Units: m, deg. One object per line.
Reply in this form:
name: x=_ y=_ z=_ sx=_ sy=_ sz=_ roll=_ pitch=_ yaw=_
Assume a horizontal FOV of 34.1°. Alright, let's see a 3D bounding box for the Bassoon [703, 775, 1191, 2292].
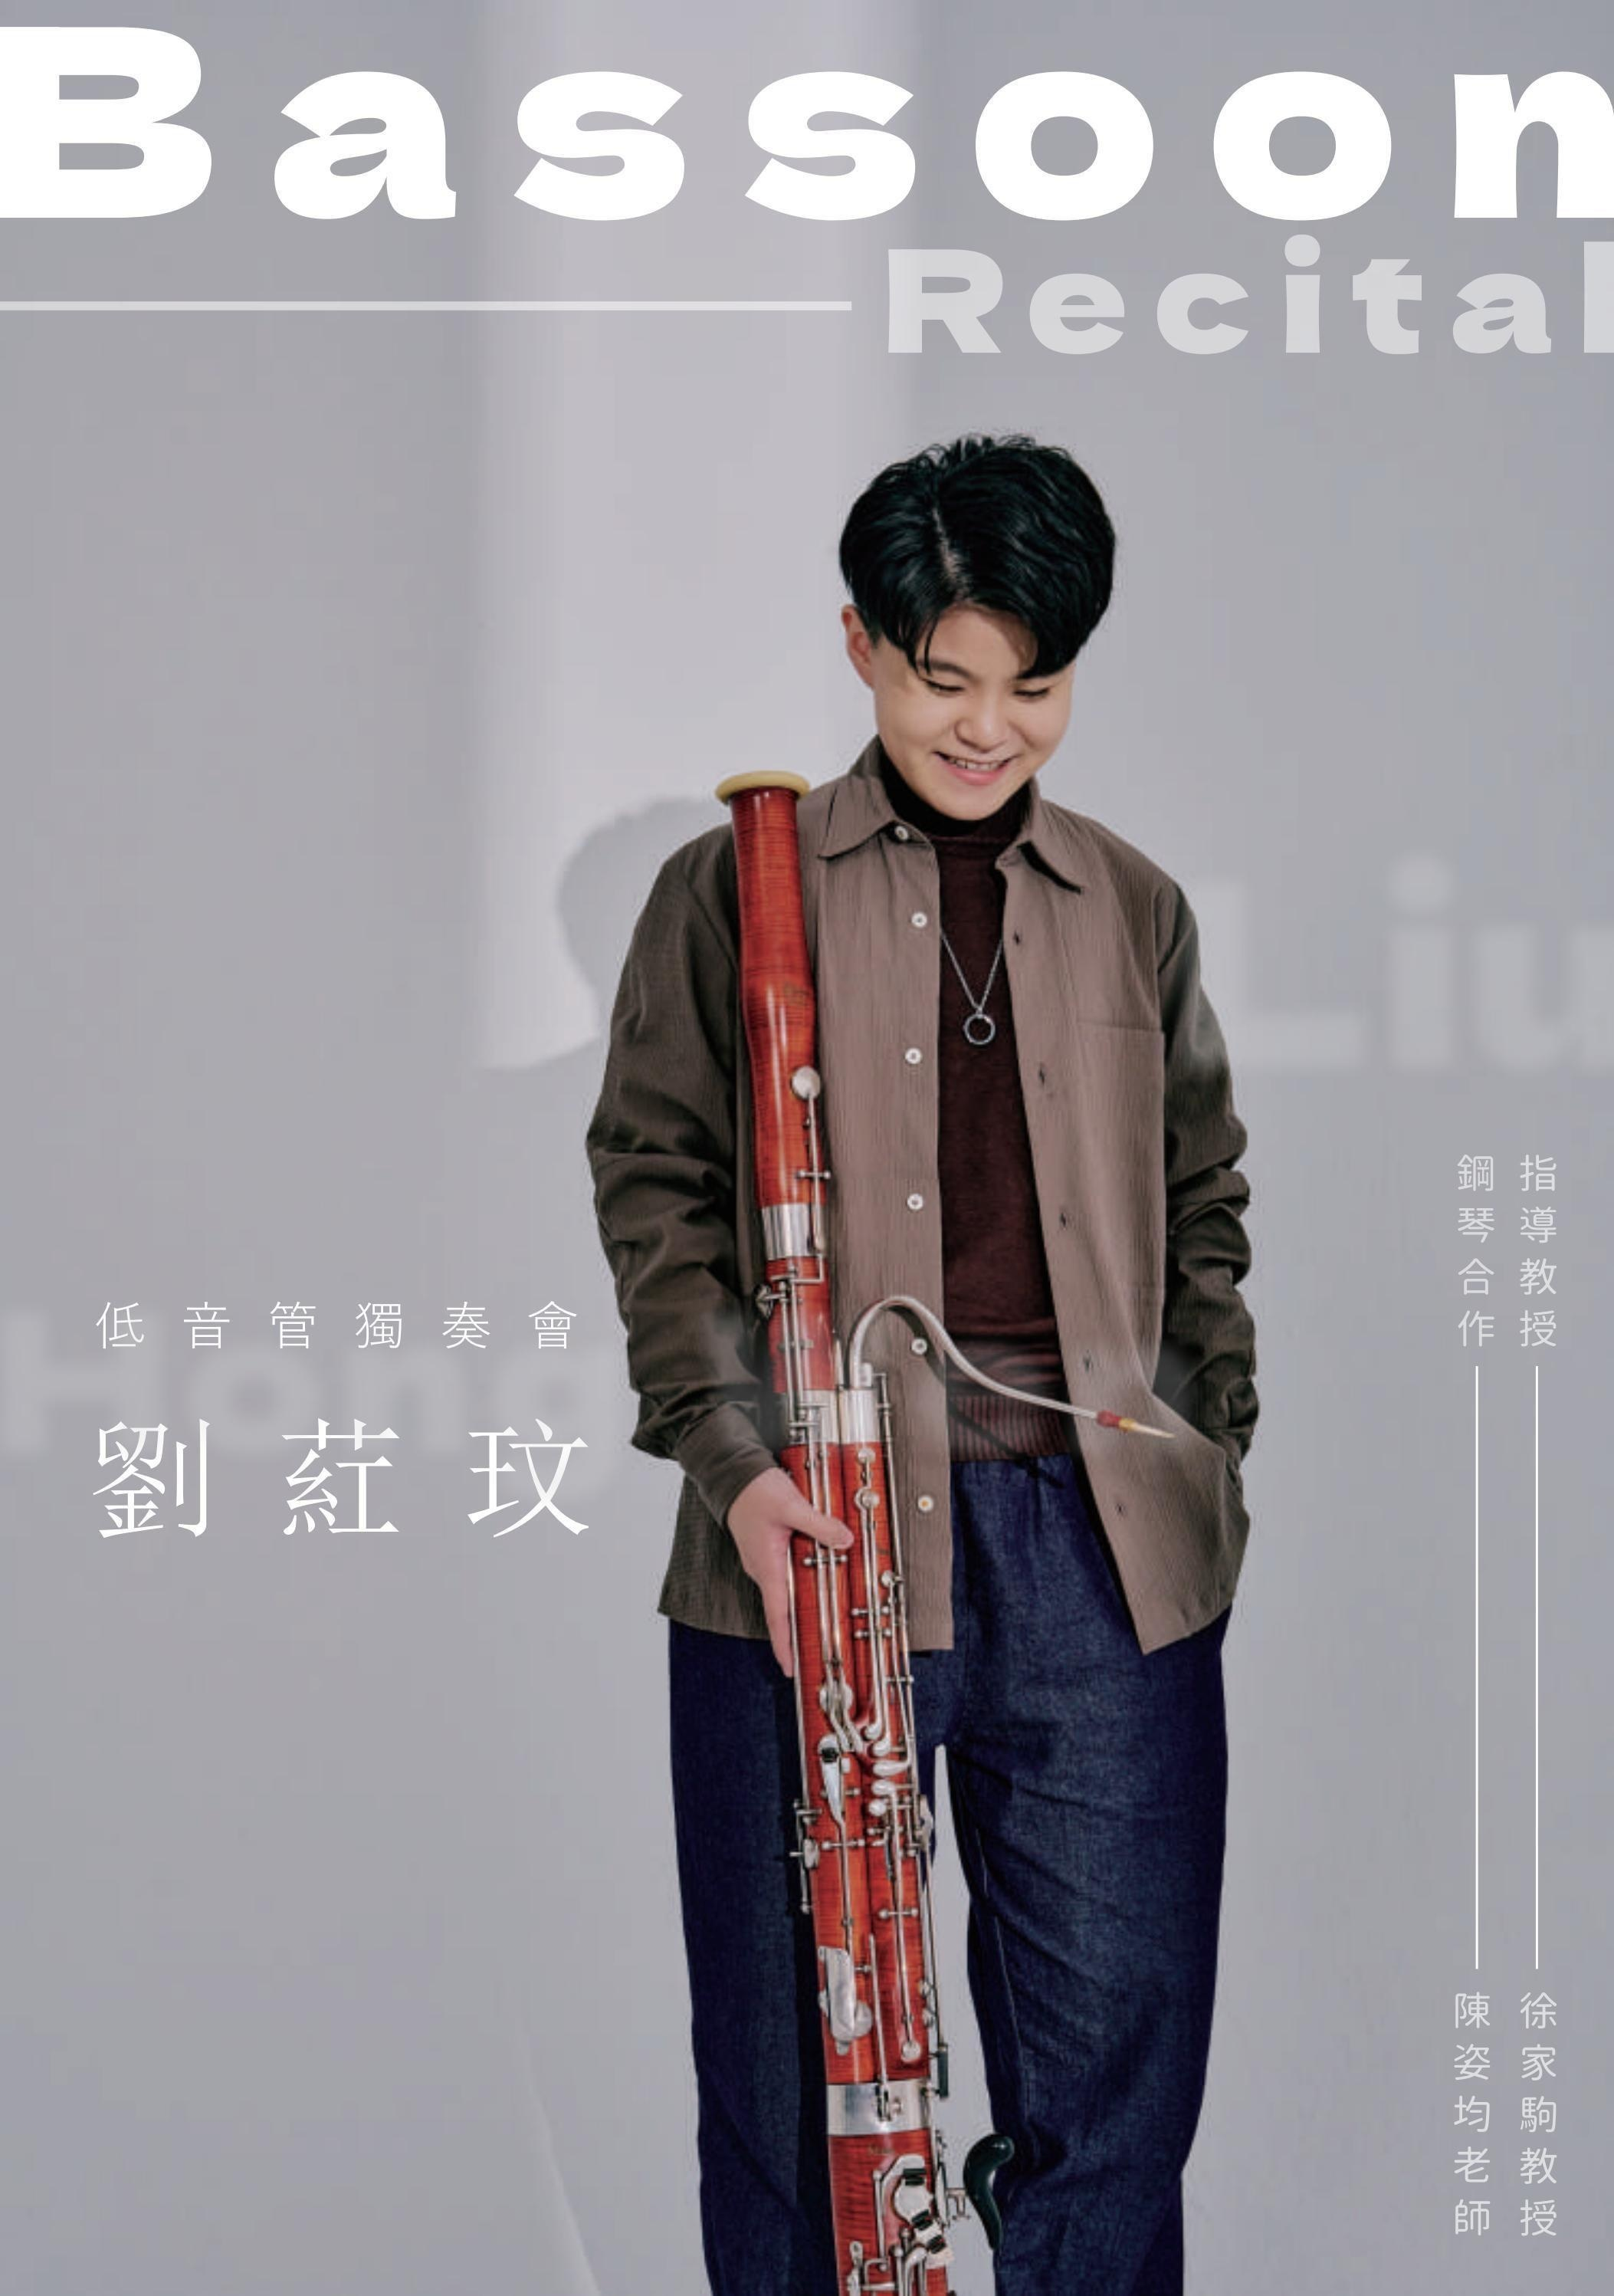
Bassoon: x=0.138 y=0.497 z=2.933 sx=0.395 sy=1.766 sz=0.239 roll=-7 pitch=3 yaw=-23
